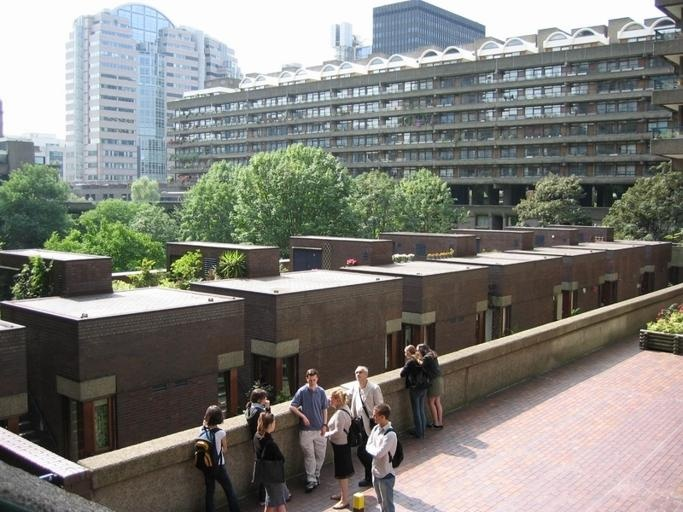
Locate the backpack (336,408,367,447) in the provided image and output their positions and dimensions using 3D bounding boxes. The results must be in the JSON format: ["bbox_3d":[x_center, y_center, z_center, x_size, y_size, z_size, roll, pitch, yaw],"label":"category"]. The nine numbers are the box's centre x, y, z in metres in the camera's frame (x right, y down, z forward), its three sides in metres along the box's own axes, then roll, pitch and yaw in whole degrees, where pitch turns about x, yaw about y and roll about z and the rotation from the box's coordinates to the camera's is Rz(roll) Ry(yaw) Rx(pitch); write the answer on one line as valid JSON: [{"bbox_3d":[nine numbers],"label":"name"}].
[{"bbox_3d":[0.237,3.613,13.302,0.463,1.005,0.755,-5,-9,28],"label":"backpack"}]

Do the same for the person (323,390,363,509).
[{"bbox_3d":[-0.031,3.968,12.975,0.596,2.126,1.225,-2,6,-2],"label":"person"}]

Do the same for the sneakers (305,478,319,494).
[{"bbox_3d":[-0.621,4.886,13.269,0.140,0.154,0.342,-2,-12,19],"label":"sneakers"}]

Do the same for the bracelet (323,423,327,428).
[{"bbox_3d":[-0.348,3.657,13.398,0.076,0.033,0.076,18,8,-34],"label":"bracelet"}]
